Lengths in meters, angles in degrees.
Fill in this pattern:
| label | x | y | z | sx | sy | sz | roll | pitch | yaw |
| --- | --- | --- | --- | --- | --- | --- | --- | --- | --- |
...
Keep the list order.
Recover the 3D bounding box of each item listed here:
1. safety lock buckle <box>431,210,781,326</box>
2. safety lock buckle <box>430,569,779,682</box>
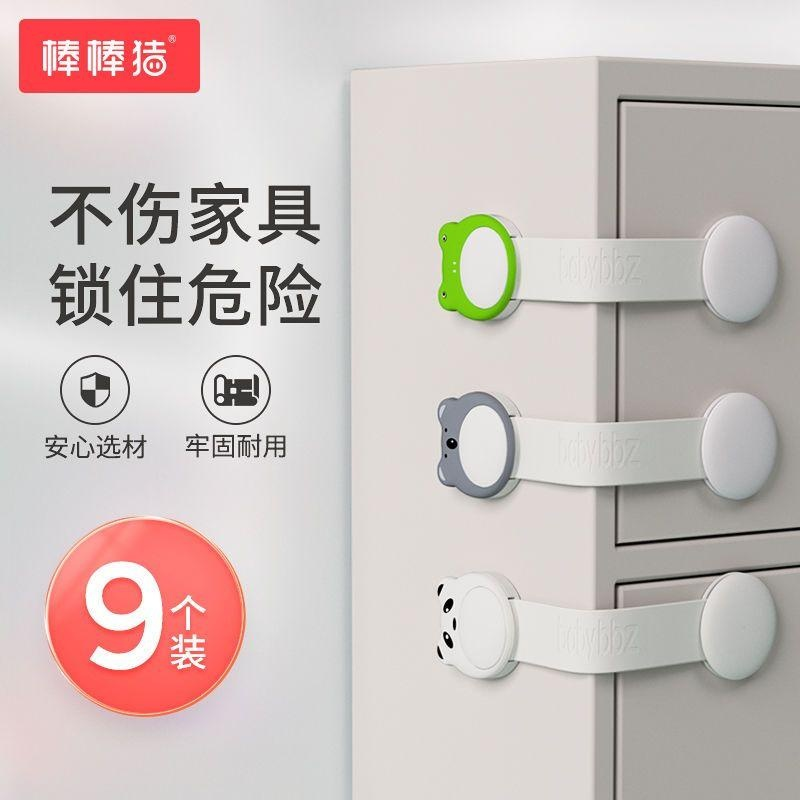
| label | x | y | z | sx | sy | sz | roll | pitch | yaw |
| --- | --- | --- | --- | --- | --- | --- | --- | --- | --- |
| safety lock buckle | 0.213 | -0.138 | 0.965 | 0.363 | 0.052 | 0.134 | 4 | -30 | 25 |
| safety lock buckle | 0.224 | 0.249 | 0.982 | 0.203 | 0.084 | 0.175 | 4 | -7 | -21 |
